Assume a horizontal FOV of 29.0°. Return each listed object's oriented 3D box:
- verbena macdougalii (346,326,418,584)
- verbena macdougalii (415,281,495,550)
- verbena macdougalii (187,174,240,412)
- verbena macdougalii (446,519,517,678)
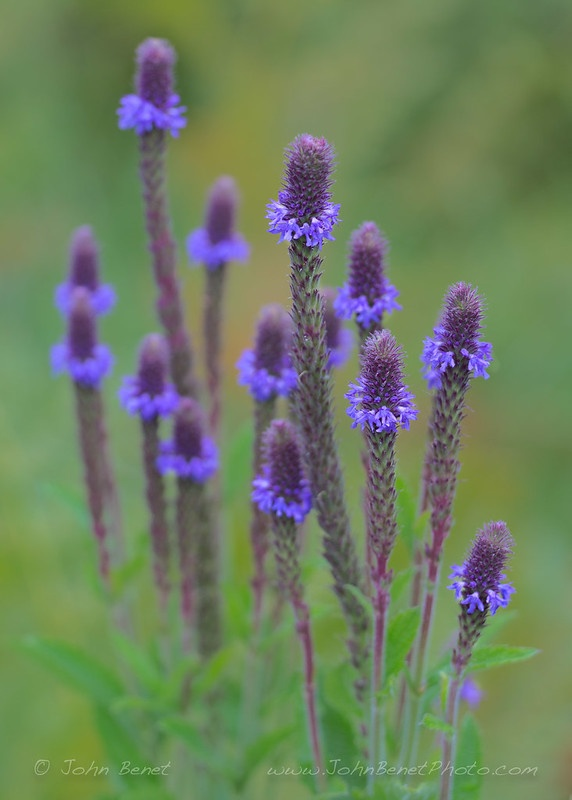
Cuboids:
[{"bbox_3d":[0.073,0.044,0.894,0.056,0.194,0.082,4,-2,3],"label":"verbena macdougalii"},{"bbox_3d":[0.143,0.010,0.949,0.058,0.204,0.121,4,-2,9],"label":"verbena macdougalii"},{"bbox_3d":[-0.074,-0.097,1.129,0.059,0.170,0.139,4,-2,-2],"label":"verbena macdougalii"},{"bbox_3d":[0.164,0.168,0.929,0.053,0.136,0.118,4,-3,10],"label":"verbena macdougalii"}]
